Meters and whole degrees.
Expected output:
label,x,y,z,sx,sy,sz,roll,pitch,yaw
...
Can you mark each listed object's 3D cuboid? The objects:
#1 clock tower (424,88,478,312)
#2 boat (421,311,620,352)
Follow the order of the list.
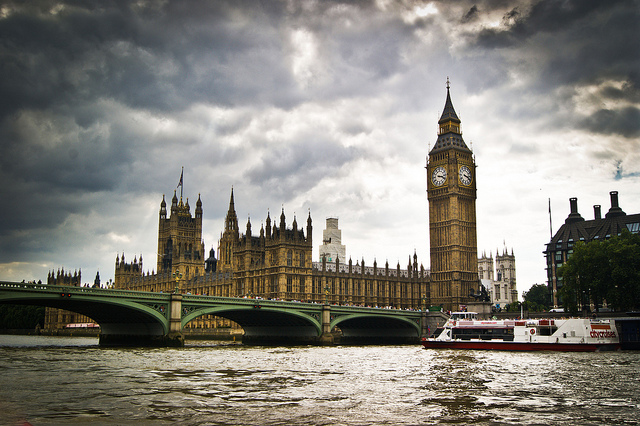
label,x,y,z,sx,sy,sz,roll,pitch,yaw
clock tower,28.989,-2.279,178.680,16.577,47.938,15.115,-2,-1,-13
boat,26.801,16.581,117.690,25.427,5.606,8.849,-5,-11,34
